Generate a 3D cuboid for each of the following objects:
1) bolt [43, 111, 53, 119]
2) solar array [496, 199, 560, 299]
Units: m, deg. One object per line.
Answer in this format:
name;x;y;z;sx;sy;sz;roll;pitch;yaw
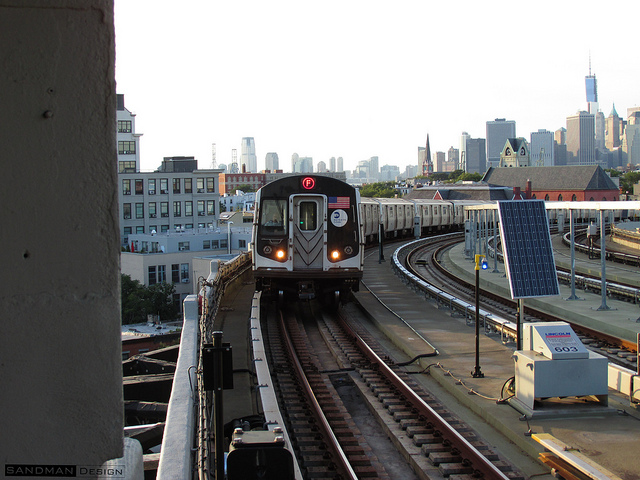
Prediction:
bolt;-1.137;-0.522;3.076;0.028;0.029;0.008;-30;9;-8
solar array;3.912;0.119;14.077;0.873;2.226;1.607;-13;-18;40
